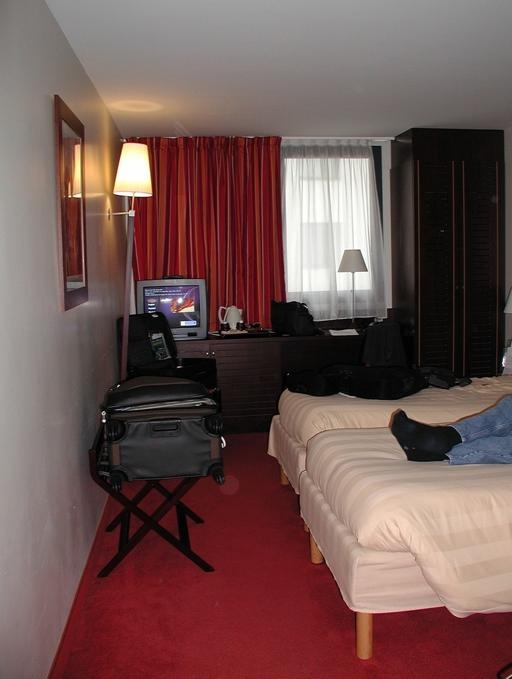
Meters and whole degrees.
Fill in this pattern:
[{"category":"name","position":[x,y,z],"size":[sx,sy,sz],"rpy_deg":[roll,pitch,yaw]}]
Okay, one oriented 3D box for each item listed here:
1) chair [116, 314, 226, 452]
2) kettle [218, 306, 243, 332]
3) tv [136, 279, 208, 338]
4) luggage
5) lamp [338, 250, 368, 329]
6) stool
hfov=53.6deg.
[{"category":"chair","position":[-0.630,0.201,3.561],"size":[0.486,0.813,0.483],"rpy_deg":[-9,1,38]},{"category":"kettle","position":[-0.226,-0.187,4.591],"size":[0.246,0.253,0.194],"rpy_deg":[-1,9,-3]},{"category":"tv","position":[-0.684,-0.298,4.532],"size":[0.770,0.731,0.449],"rpy_deg":[-2,1,-6]},{"category":"luggage","position":[-0.388,0.367,2.066],"size":[0.425,0.338,0.431],"rpy_deg":[-1,4,-10]},{"category":"lamp","position":[0.874,-0.475,4.651],"size":[0.240,0.683,0.386],"rpy_deg":[-1,4,10]},{"category":"stool","position":[-0.509,0.759,2.541],"size":[0.620,0.611,0.690],"rpy_deg":[-1,2,-20]}]
